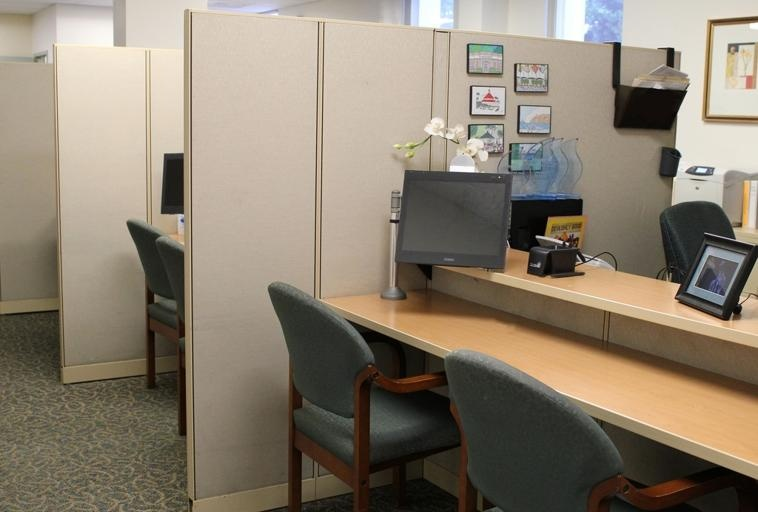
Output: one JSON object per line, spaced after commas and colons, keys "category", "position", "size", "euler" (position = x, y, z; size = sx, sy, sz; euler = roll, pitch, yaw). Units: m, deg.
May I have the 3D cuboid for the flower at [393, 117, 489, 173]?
{"category": "flower", "position": [0.324, -0.612, 3.289], "size": [0.487, 0.233, 0.269], "euler": [2, 33, -8]}

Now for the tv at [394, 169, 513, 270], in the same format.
{"category": "tv", "position": [0.373, -0.183, 3.029], "size": [0.480, 0.415, 0.034], "euler": [6, -5, 17]}

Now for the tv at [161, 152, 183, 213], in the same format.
{"category": "tv", "position": [-1.562, -0.562, 4.670], "size": [0.255, 0.427, 0.031], "euler": [4, 1, 25]}
